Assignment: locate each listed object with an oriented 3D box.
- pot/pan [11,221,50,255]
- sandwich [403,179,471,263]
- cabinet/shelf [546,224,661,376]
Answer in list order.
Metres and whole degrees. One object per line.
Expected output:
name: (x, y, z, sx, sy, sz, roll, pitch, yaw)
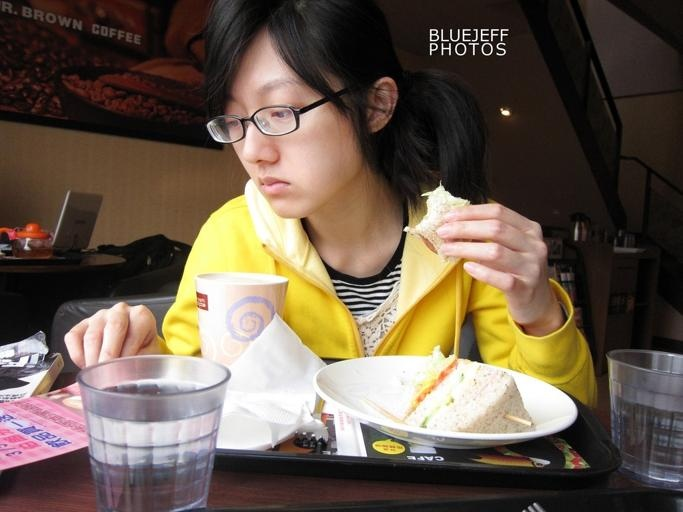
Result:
pot/pan: (-1.642, -0.094, 2.618, 0.186, 0.175, 0.185, 3, 7, -16)
sandwich: (0.206, -0.082, 1.039, 0.097, 0.138, 0.105, -4, 5, -28)
cabinet/shelf: (1.950, 0.259, 3.629, 0.565, 1.372, 1.402, 0, -2, 38)
